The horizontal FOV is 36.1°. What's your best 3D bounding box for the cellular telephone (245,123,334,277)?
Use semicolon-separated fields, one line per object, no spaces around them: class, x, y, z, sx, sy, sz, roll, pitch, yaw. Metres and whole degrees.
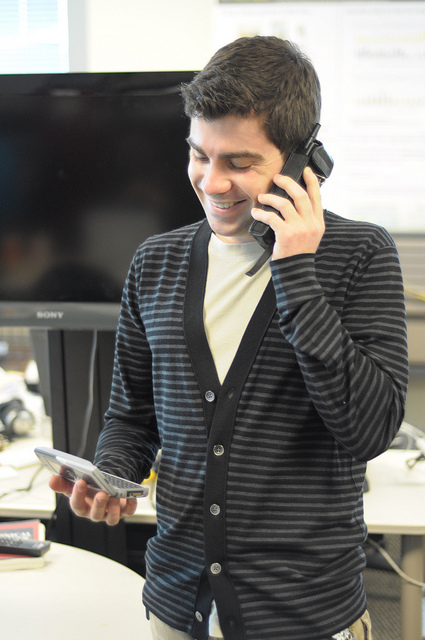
cellular telephone;0.113;-0.183;0.992;0.054;0.264;0.080;23;-17;37

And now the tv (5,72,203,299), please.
tv;-0.263;-0.355;1.579;0.667;0.535;0.067;0;7;3

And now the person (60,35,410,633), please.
person;0.003;0.040;1.037;0.509;0.948;0.401;8;14;43

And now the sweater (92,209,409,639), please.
sweater;0.033;0.152;1.082;0.522;0.644;0.330;6;13;37
